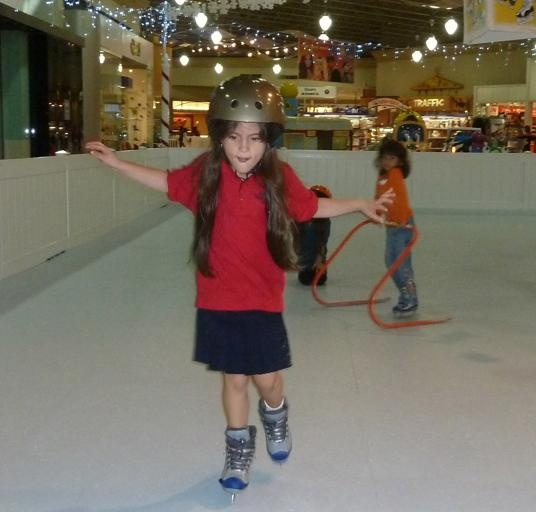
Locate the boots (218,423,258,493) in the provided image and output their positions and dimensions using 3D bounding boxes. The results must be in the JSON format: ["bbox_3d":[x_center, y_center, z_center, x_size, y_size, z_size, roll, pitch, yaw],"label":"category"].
[{"bbox_3d":[-0.091,0.635,1.473,0.081,0.093,0.209,1,12,1],"label":"boots"}]

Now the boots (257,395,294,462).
[{"bbox_3d":[0.022,0.593,1.688,0.092,0.248,0.107,-10,-12,0],"label":"boots"}]

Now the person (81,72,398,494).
[{"bbox_3d":[-0.073,0.093,1.512,0.705,1.329,0.343,-1,6,-19],"label":"person"}]

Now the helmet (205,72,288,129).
[{"bbox_3d":[-0.061,-0.450,1.462,0.229,0.216,0.274,2,15,0],"label":"helmet"}]
